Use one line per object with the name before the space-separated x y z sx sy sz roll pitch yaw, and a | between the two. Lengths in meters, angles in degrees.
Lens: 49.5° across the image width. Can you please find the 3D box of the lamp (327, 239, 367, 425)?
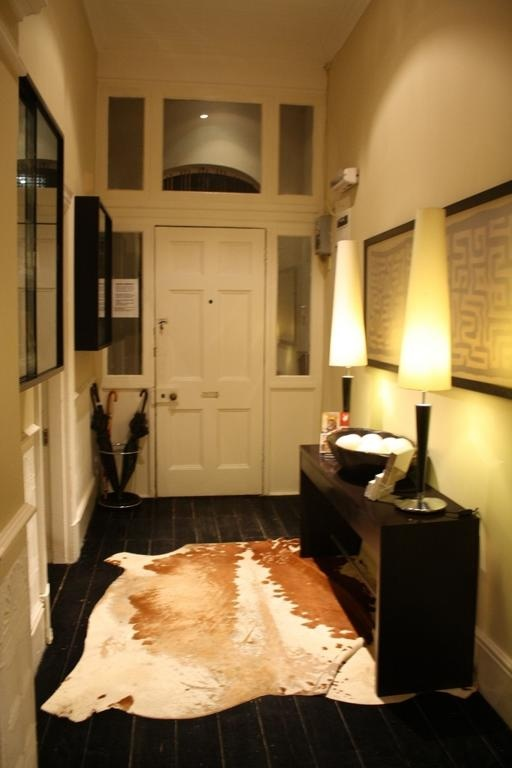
lamp | 0.516 -0.307 3.040 0.183 1.009 0.492 1 3 11

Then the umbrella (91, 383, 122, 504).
umbrella | -1.086 0.412 4.017 0.205 0.841 0.370 0 3 -14

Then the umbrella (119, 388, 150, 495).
umbrella | -0.884 0.437 4.051 0.209 0.796 0.346 0 3 -13

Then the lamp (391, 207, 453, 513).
lamp | 0.592 -0.074 1.937 0.170 1.034 0.243 2 3 17

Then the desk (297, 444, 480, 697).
desk | 0.506 0.701 2.067 0.196 0.437 0.787 0 3 -5
